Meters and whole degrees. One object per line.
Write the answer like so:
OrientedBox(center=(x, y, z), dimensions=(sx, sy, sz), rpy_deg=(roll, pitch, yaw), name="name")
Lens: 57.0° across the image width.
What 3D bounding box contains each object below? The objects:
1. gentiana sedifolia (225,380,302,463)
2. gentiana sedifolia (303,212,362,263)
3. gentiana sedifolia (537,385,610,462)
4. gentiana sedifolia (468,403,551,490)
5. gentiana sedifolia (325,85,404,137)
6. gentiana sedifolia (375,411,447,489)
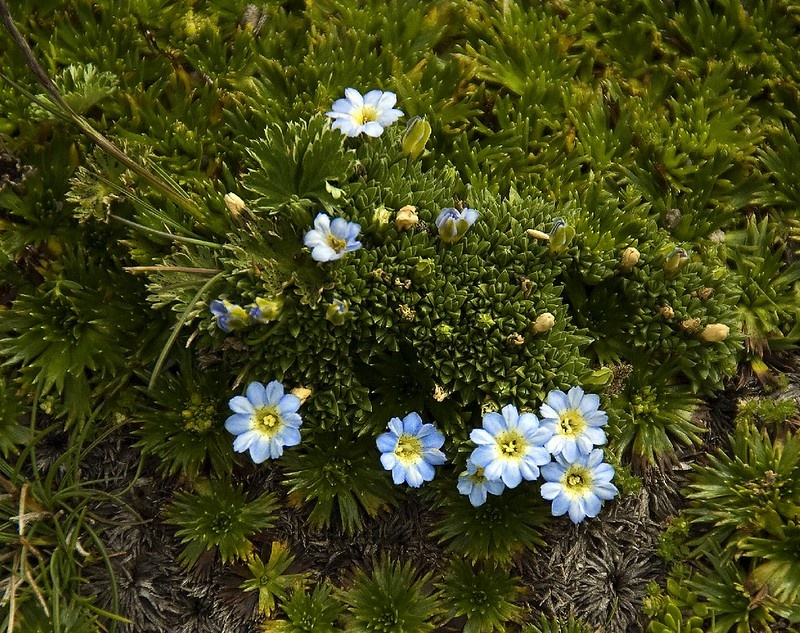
OrientedBox(center=(-0.600, 0.463, 3.344), dimensions=(0.339, 0.251, 0.341), rpy_deg=(-29, 82, -6), name="gentiana sedifolia")
OrientedBox(center=(-0.307, -0.371, 3.343), dimensions=(0.235, 0.255, 0.133), rpy_deg=(10, 70, -37), name="gentiana sedifolia")
OrientedBox(center=(0.778, 0.446, 3.292), dimensions=(0.288, 0.335, 0.160), rpy_deg=(-7, 104, -13), name="gentiana sedifolia")
OrientedBox(center=(0.498, 0.589, 3.255), dimensions=(0.335, 0.146, 0.359), rpy_deg=(-32, 59, -8), name="gentiana sedifolia")
OrientedBox(center=(-0.169, -0.962, 3.550), dimensions=(0.285, 0.336, 0.129), rpy_deg=(5, 91, 8), name="gentiana sedifolia")
OrientedBox(center=(0.037, 0.574, 3.309), dimensions=(0.285, 0.158, 0.329), rpy_deg=(20, 48, 11), name="gentiana sedifolia")
